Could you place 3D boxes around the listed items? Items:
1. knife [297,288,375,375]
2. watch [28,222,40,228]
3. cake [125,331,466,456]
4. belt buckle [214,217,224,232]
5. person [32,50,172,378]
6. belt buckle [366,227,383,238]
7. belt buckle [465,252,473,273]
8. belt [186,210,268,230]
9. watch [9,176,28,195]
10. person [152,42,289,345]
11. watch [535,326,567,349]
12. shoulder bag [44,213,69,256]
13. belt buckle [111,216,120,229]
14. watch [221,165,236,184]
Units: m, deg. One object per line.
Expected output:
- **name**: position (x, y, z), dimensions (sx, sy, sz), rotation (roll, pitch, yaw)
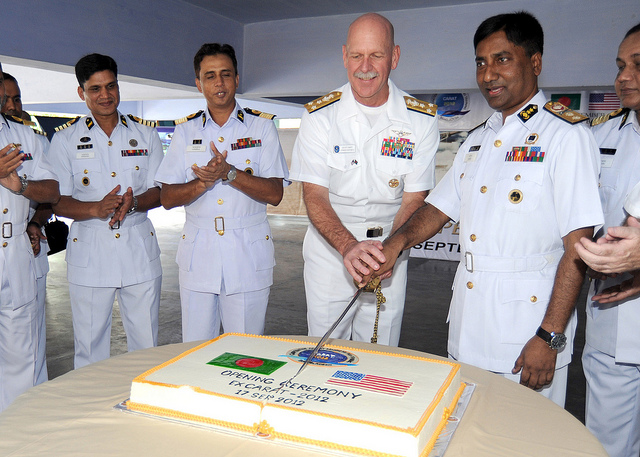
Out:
- **knife**: position (0.077, 0.395, 2.018), dimensions (0.055, 0.423, 0.124), rotation (26, -17, 34)
- **watch**: position (-1.815, -0.029, 3.051), dimensions (0.039, 0.037, 0.009), rotation (18, -42, -35)
- **cake**: position (-0.059, 0.553, 1.587), dimensions (0.712, 0.103, 0.484), rotation (3, 9, 22)
- **belt buckle**: position (-0.599, -0.026, 2.846), dimensions (0.059, 0.079, 0.024), rotation (-4, 14, 1)
- **person**: position (-1.379, 0.105, 3.248), dimensions (0.824, 2.371, 0.792), rotation (-6, 19, -32)
- **belt buckle**: position (0.287, 0.021, 2.520), dimensions (0.058, 0.023, 0.057), rotation (-1, 8, -19)
- **belt buckle**: position (0.668, 0.150, 2.149), dimensions (0.020, 0.067, 0.049), rotation (3, 1, -10)
- **belt**: position (-0.573, -0.059, 2.938), dimensions (0.493, 0.105, 0.204), rotation (-7, 14, -11)
- **watch**: position (-1.648, -0.237, 2.629), dimensions (0.076, 0.093, 0.094), rotation (-8, 14, -16)
- **person**: position (-0.572, -0.221, 2.930), dimensions (0.797, 1.753, 0.497), rotation (-9, 14, -19)
- **watch**: position (0.931, 0.446, 1.926), dimensions (0.106, 0.066, 0.099), rotation (37, -15, -33)
- **shoulder bag**: position (-2.142, 0.052, 3.991), dimensions (0.138, 0.368, 0.482), rotation (1, -1, -7)
- **belt buckle**: position (-1.312, -0.035, 3.079), dimensions (0.063, 0.088, 0.033), rotation (3, 2, -1)
- **watch**: position (-0.521, -0.316, 2.739), dimensions (0.083, 0.097, 0.056), rotation (-1, 14, 14)
